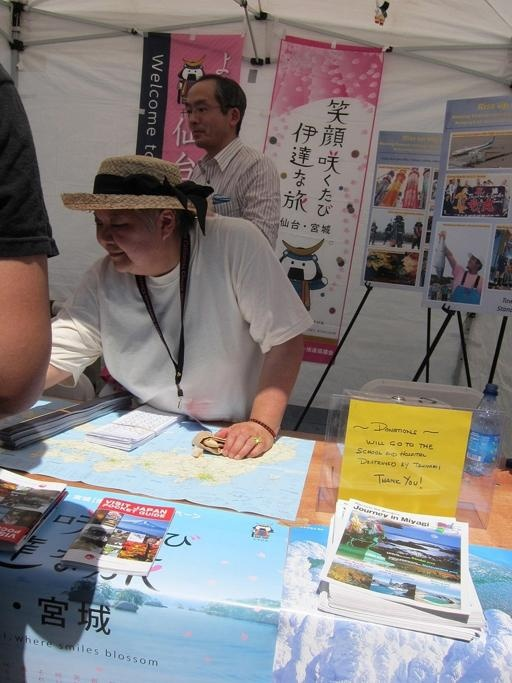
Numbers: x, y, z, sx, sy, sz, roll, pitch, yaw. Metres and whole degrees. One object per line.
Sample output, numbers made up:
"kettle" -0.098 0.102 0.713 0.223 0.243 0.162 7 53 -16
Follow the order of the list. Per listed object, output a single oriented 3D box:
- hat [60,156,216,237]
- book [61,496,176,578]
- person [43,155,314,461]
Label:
"hat" -0.275 -0.386 1.298 0.352 0.101 0.303 15 33 37
"book" -0.199 0.294 0.811 0.119 0.014 0.146 12 19 2
"person" -0.293 -0.093 1.484 0.802 0.711 0.646 -3 14 -1
